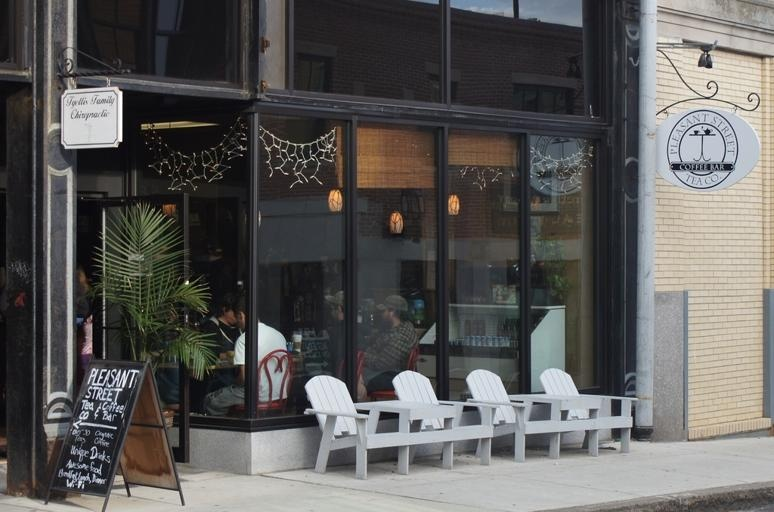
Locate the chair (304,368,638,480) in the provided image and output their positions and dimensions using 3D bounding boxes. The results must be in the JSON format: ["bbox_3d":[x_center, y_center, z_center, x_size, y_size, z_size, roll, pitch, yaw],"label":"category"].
[{"bbox_3d":[0.837,1.949,15.452,3.841,1.107,1.058,-1,-1,-25],"label":"chair"}]

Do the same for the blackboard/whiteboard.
[{"bbox_3d":[-3.035,1.809,13.446,1.041,1.971,0.600,1,-2,-18],"label":"blackboard/whiteboard"}]

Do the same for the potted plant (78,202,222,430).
[{"bbox_3d":[-2.700,0.416,14.905,1.338,1.819,1.008,-1,-1,-1],"label":"potted plant"}]

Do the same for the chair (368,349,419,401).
[{"bbox_3d":[0.065,1.447,15.672,0.580,0.825,0.556,2,-4,-2],"label":"chair"}]

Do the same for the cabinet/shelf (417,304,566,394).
[{"bbox_3d":[1.519,0.683,16.665,2.051,1.457,1.066,0,-2,-7],"label":"cabinet/shelf"}]

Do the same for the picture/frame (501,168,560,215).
[{"bbox_3d":[1.851,-0.800,16.526,0.821,0.500,0.113,-1,-1,-31],"label":"picture/frame"}]

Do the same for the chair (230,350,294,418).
[{"bbox_3d":[-1.576,1.469,15.170,0.463,0.919,0.785,6,8,33],"label":"chair"}]
